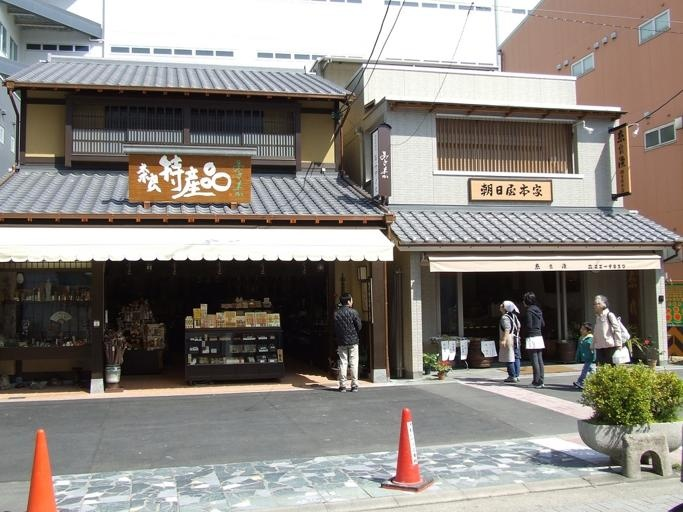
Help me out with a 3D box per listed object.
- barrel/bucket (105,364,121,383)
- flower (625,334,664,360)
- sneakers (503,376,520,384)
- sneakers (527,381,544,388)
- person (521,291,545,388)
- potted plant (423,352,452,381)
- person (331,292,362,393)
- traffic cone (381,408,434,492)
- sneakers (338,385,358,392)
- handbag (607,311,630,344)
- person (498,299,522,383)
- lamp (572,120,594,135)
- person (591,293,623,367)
[{"bbox_3d":[-5.764,2.985,15.729,0.409,0.454,0.417,0,-6,0],"label":"barrel/bucket"},{"bbox_3d":[8.682,2.708,17.922,0.719,0.777,1.133,0,2,9],"label":"flower"},{"bbox_3d":[4.319,3.134,15.666,0.320,0.144,0.151,1,-2,16],"label":"sneakers"},{"bbox_3d":[4.713,3.128,15.059,0.364,0.166,0.137,4,-4,-5],"label":"sneakers"},{"bbox_3d":[4.746,2.068,15.276,0.461,2.239,0.787,0,2,17],"label":"person"},{"bbox_3d":[2.537,2.951,16.604,0.617,0.456,0.637,3,1,11],"label":"potted plant"},{"bbox_3d":[0.144,2.132,15.223,0.605,2.314,0.483,-1,1,1],"label":"person"},{"bbox_3d":[0.989,2.964,9.440,0.902,1.036,0.936,-1,-8,-2],"label":"traffic cone"},{"bbox_3d":[0.153,3.215,15.163,0.481,0.154,0.274,0,2,8],"label":"sneakers"},{"bbox_3d":[6.258,1.647,14.006,0.400,0.822,1.026,0,2,27],"label":"handbag"},{"bbox_3d":[4.243,2.162,15.659,0.479,2.073,0.880,0,2,18],"label":"person"},{"bbox_3d":[7.514,-4.003,19.175,0.663,0.447,0.315,0,2,5],"label":"lamp"},{"bbox_3d":[5.929,1.961,13.823,0.544,2.076,0.670,16,-20,-30],"label":"person"}]
